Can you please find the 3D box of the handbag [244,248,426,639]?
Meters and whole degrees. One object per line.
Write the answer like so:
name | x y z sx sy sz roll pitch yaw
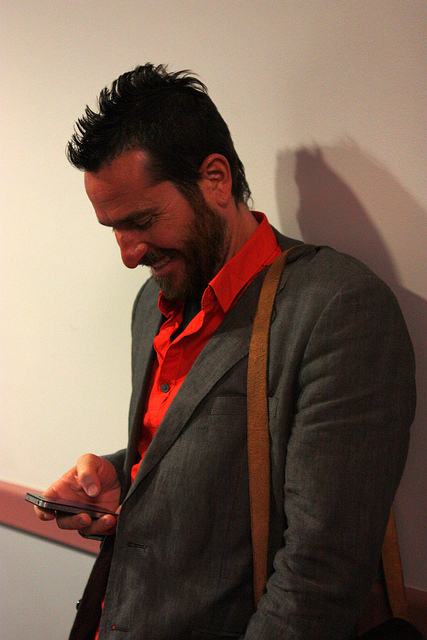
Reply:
handbag | 0.256 0.230 1.309 0.448 0.696 0.235 12 -27 -36
